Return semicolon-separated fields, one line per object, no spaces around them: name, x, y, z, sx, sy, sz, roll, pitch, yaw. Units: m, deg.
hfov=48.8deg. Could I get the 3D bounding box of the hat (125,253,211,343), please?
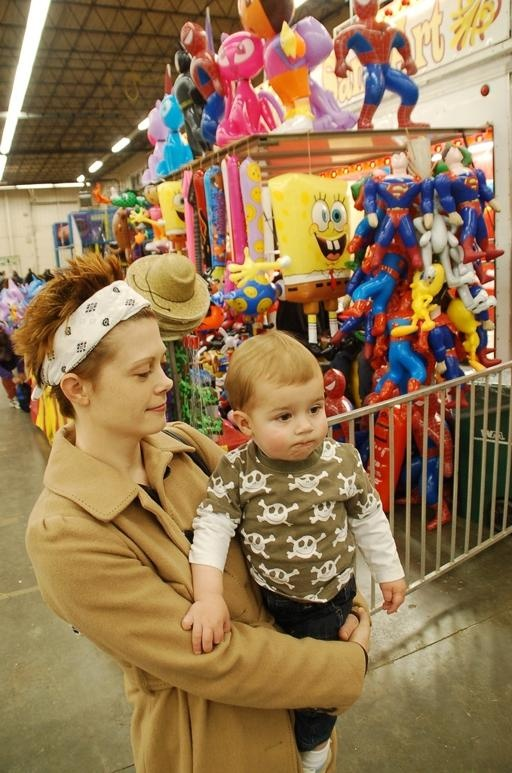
hat;-0.200;-0.179;1.230;0.170;0.189;0.071;-33;1;-41
